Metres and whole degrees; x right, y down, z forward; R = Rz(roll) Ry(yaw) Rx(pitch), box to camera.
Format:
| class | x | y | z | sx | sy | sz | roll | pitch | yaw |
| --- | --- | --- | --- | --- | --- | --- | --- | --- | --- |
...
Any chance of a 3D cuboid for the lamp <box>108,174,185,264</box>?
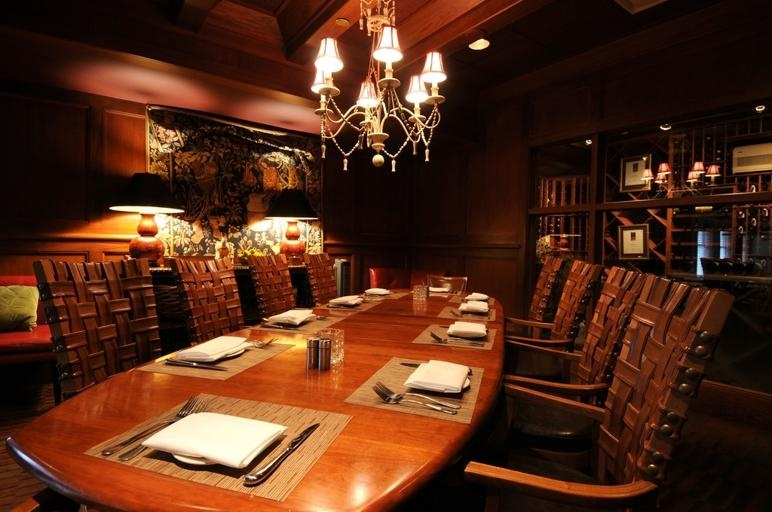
| class | x | y | z | sx | sy | sz | roll | pitch | yaw |
| --- | --- | --- | --- | --- | --- | --- | --- | --- | --- |
| lamp | -2.301 | -0.356 | 4.826 | 0.588 | 0.906 | 0.593 | -6 | 5 | -26 |

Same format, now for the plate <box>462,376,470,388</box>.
| class | x | y | z | sx | sy | sz | roll | pitch | yaw |
| --- | --- | --- | --- | --- | --- | --- | --- | --- | --- |
| plate | 0.380 | 0.615 | 2.428 | 0.051 | 0.020 | 0.141 | 10 | 3 | 9 |

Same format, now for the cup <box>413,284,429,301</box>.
| class | x | y | z | sx | sy | sz | roll | pitch | yaw |
| --- | --- | --- | --- | --- | --- | --- | --- | --- | --- |
| cup | 0.269 | 0.295 | 4.011 | 0.119 | 0.107 | 0.116 | 0 | -3 | 0 |

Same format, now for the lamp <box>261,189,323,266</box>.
| class | x | y | z | sx | sy | sz | roll | pitch | yaw |
| --- | --- | --- | --- | --- | --- | --- | --- | --- | --- |
| lamp | -1.281 | -0.348 | 6.255 | 0.880 | 1.285 | 0.894 | -1 | 2 | -5 |

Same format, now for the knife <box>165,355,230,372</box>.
| class | x | y | z | sx | sy | sz | roll | pitch | yaw |
| --- | --- | --- | --- | --- | --- | --- | --- | --- | --- |
| knife | -0.982 | 0.559 | 2.583 | 0.264 | 0.023 | 0.050 | 5 | 20 | 0 |

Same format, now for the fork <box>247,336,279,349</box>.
| class | x | y | z | sx | sy | sz | roll | pitch | yaw |
| --- | --- | --- | --- | --- | --- | --- | --- | --- | --- |
| fork | -0.706 | 0.491 | 2.844 | 0.249 | 0.034 | 0.043 | -1 | 4 | -25 |

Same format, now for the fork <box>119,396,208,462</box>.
| class | x | y | z | sx | sy | sz | roll | pitch | yaw |
| --- | --- | --- | --- | --- | --- | --- | --- | --- | --- |
| fork | -0.964 | 0.759 | 2.163 | 0.054 | 0.045 | 0.401 | 12 | 26 | 32 |

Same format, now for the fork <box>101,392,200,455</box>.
| class | x | y | z | sx | sy | sz | roll | pitch | yaw |
| --- | --- | --- | --- | --- | --- | --- | --- | --- | --- |
| fork | -1.034 | 0.746 | 2.189 | 0.338 | 0.046 | 0.049 | -25 | 31 | -32 |

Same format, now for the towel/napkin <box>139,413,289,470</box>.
| class | x | y | z | sx | sy | sz | roll | pitch | yaw |
| --- | --- | --- | --- | --- | --- | --- | --- | --- | --- |
| towel/napkin | -0.724 | 0.766 | 2.107 | 0.376 | 0.076 | 0.262 | 6 | 12 | 18 |
